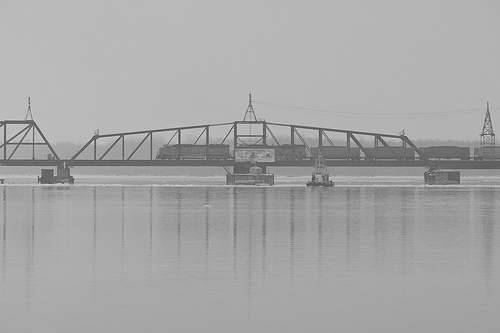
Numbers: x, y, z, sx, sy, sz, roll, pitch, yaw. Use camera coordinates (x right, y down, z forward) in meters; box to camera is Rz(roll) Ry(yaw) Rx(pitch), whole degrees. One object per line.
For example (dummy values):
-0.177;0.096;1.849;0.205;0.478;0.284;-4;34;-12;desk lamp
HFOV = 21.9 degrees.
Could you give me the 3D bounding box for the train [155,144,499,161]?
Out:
7.659;-2.215;165.427;35.488;2.711;3.045;0;0;-1;train
